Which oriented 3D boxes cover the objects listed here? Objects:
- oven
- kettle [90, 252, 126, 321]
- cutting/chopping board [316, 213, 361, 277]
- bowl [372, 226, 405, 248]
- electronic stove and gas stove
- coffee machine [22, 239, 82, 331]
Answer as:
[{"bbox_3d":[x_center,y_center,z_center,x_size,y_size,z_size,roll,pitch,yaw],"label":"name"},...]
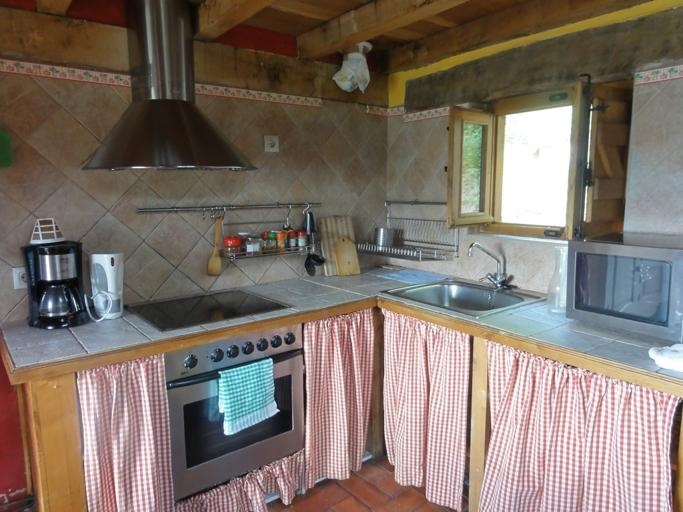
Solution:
[{"bbox_3d":[-0.647,0.716,2.898,0.644,0.808,0.625,-6,9,-41],"label":"oven"},{"bbox_3d":[-1.176,0.141,2.747,0.141,0.372,0.137,-4,13,-41],"label":"kettle"},{"bbox_3d":[-0.037,-0.067,3.669,0.389,0.544,0.058,-4,-3,-35],"label":"cutting/chopping board"},{"bbox_3d":[0.335,-0.138,3.857,0.201,0.128,0.129,-1,6,-5],"label":"bowl"},{"bbox_3d":[-0.762,0.213,2.942,0.721,0.144,0.716,-6,9,-39],"label":"electronic stove and gas stove"},{"bbox_3d":[-1.385,0.122,2.622,0.242,0.402,0.305,-3,5,-36],"label":"coffee machine"}]
